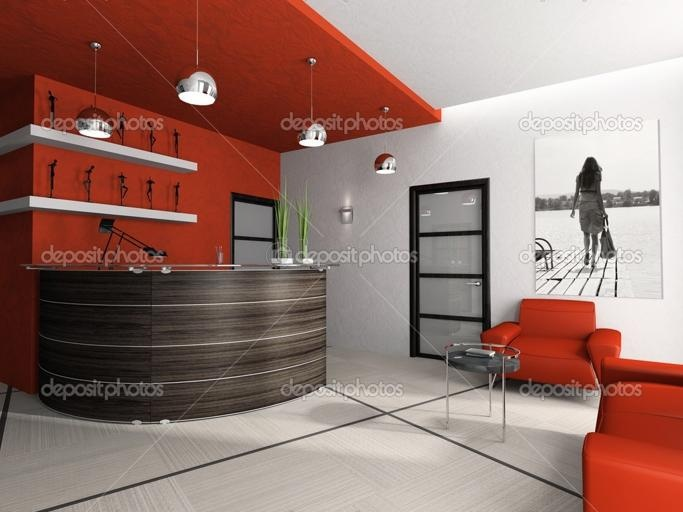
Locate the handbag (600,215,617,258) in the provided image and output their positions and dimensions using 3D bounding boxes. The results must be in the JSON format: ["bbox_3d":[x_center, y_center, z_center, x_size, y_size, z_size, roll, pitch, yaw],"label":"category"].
[{"bbox_3d":[2.806,-0.195,5.137,0.155,0.435,0.078,5,12,26],"label":"handbag"}]

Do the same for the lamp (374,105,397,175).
[{"bbox_3d":[0.546,-1.424,6.096,0.235,0.798,0.650,1,11,5],"label":"lamp"}]

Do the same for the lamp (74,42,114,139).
[{"bbox_3d":[-2.449,-1.574,4.771,0.308,0.831,0.833,-5,12,-27],"label":"lamp"}]

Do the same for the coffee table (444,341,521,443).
[{"bbox_3d":[1.101,1.193,4.292,0.557,0.752,0.686,15,-10,-22],"label":"coffee table"}]

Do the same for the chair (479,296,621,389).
[{"bbox_3d":[2.174,0.898,5.035,1.204,0.822,0.701,0,5,31],"label":"chair"}]
